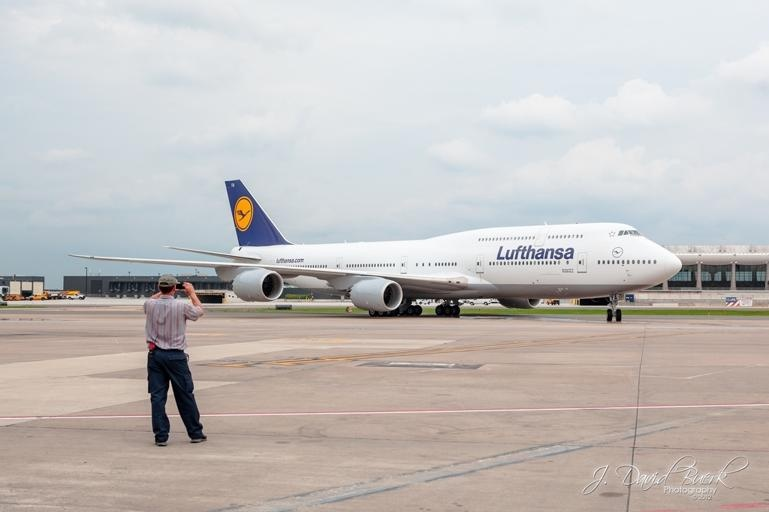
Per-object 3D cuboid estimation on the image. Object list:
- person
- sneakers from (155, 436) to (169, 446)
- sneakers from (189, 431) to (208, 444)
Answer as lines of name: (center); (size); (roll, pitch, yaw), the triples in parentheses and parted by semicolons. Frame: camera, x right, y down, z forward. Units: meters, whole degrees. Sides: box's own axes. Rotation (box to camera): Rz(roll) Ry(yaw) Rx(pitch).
person: (-3.178, 1.523, 15.666); (0.869, 2.472, 1.391); (-1, -3, -11)
sneakers: (-3.243, 2.683, 14.967); (0.183, 0.126, 0.183); (-1, -2, -11)
sneakers: (-2.720, 2.662, 15.106); (0.135, 0.079, 0.262); (1, 2, 19)
